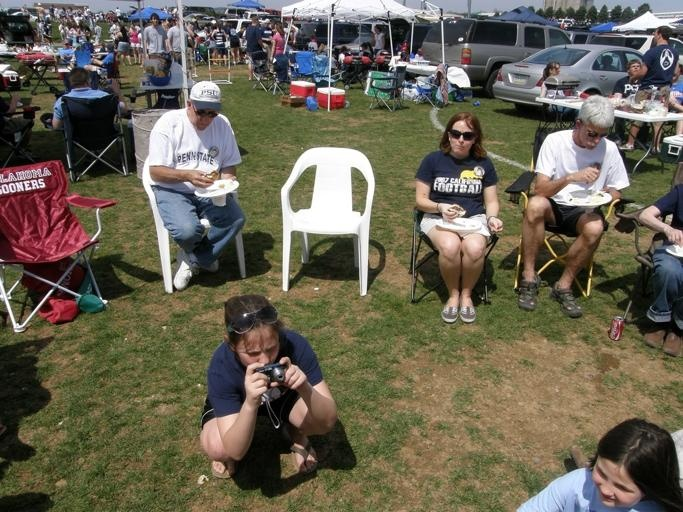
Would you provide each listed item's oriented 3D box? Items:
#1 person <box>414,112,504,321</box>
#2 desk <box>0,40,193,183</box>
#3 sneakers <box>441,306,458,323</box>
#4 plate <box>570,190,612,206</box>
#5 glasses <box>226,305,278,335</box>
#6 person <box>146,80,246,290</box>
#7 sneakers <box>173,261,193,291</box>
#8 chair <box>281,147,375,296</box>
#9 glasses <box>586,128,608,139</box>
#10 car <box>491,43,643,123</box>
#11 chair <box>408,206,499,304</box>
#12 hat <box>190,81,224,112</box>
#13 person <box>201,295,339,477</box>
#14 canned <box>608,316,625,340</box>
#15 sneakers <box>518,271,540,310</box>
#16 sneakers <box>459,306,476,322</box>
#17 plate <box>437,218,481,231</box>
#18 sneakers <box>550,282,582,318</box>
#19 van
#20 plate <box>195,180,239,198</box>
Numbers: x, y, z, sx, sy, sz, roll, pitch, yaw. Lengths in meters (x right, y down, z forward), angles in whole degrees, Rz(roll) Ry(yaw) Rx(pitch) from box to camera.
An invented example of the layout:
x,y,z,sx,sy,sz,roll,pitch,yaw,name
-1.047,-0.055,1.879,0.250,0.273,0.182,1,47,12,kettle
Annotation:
x,y,z,sx,sy,sz,roll,pitch,yaw,name
1.014,-0.365,4.374,0.763,1.657,0.937,5,24,7,person
-3.733,-2.155,7.423,1.732,2.298,1.920,25,33,38,desk
0.941,0.506,4.298,0.130,0.125,0.112,5,24,6,sneakers
2.232,-0.509,4.433,0.344,0.100,0.342,11,25,20,plate
-0.463,0.332,2.565,0.263,0.129,0.106,-4,24,-14,glasses
-1.352,-0.672,4.631,0.827,1.805,0.714,-8,26,-21,person
-1.478,0.197,4.614,0.136,0.114,0.332,-7,40,3,sneakers
-0.171,-0.439,4.970,0.949,1.193,1.269,2,24,1,chair
2.250,-1.065,4.307,0.208,0.091,0.117,-11,27,-28,glasses
5.568,-3.961,11.394,3.829,1.222,1.669,-15,23,-25,car
0.975,-0.041,4.903,0.893,1.192,0.916,1,8,-2,chair
-1.215,-1.419,4.412,0.274,0.249,0.228,-8,26,-22,hat
-0.430,0.771,2.818,0.762,1.155,0.459,-7,25,-18,person
2.333,0.579,4.180,0.107,0.184,0.238,17,27,30,canned
1.716,0.311,4.513,0.133,0.159,0.364,-1,41,28,sneakers
1.105,0.498,4.310,0.154,0.124,0.151,7,24,12,sneakers
1.025,-0.268,4.295,0.271,0.038,0.159,6,29,13,plate
2.029,0.386,4.491,0.128,0.146,0.336,-12,38,-3,sneakers
4.338,-5.628,14.161,3.679,1.379,1.979,-13,24,-23,van
-1.143,-0.589,4.520,0.378,0.151,0.362,-5,24,-16,plate
